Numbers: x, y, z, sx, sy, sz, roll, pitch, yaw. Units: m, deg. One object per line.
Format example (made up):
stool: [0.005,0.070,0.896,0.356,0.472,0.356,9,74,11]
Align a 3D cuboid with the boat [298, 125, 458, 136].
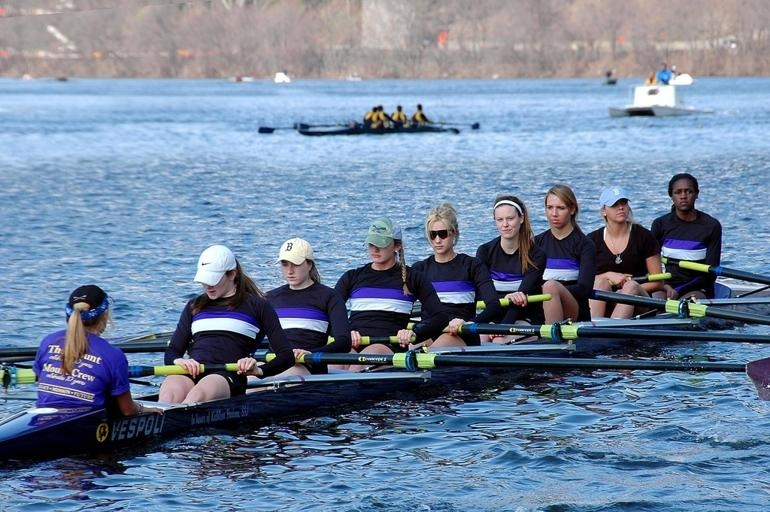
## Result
boat: [-0.554,-5.826,61.179,6.610,0.680,1.019,-1,4,-10]

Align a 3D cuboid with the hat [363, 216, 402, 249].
hat: [0.006,-0.347,18.922,0.394,0.273,0.568,5,8,28]

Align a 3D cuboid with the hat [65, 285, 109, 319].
hat: [-3.699,0.534,16.628,0.416,0.268,0.501,1,28,14]

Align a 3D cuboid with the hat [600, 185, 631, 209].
hat: [3.575,-0.938,20.955,0.370,0.197,0.439,-6,-2,-14]
